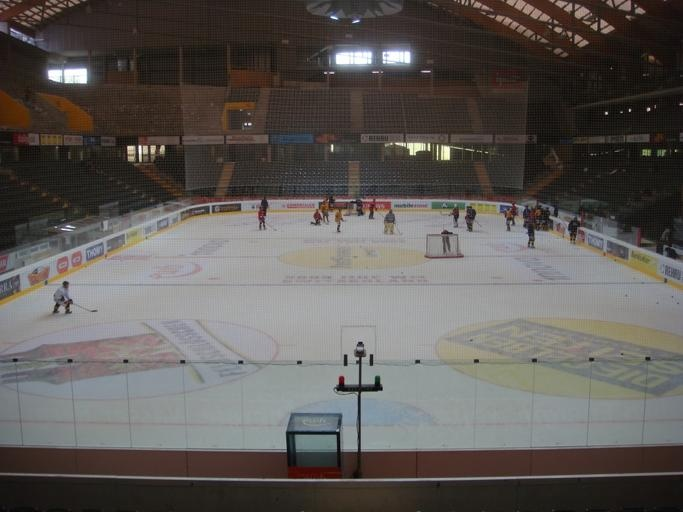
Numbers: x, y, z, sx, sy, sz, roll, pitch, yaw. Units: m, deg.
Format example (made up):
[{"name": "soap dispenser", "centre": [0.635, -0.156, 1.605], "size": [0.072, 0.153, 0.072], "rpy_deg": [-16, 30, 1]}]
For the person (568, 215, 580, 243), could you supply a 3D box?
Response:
[{"name": "person", "centre": [9.636, -1.096, 27.195], "size": [0.387, 1.040, 0.836], "rpy_deg": [3, 12, 20]}]

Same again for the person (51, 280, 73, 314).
[{"name": "person", "centre": [-7.697, 1.089, 17.936], "size": [0.509, 0.982, 1.068], "rpy_deg": [-6, 12, -24]}]

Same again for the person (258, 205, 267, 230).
[{"name": "person", "centre": [-3.965, -1.915, 32.758], "size": [0.361, 1.113, 1.582], "rpy_deg": [-3, 11, -10]}]

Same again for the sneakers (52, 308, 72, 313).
[{"name": "sneakers", "centre": [-7.673, 1.514, 17.969], "size": [0.162, 0.225, 0.526], "rpy_deg": [2, -9, 13]}]

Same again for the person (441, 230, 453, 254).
[{"name": "person", "centre": [4.089, -0.593, 25.398], "size": [0.429, 0.985, 1.679], "rpy_deg": [1, 11, 9]}]

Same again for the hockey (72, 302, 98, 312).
[{"name": "hockey", "centre": [-7.175, 1.420, 18.398], "size": [1.104, 0.136, 0.288], "rpy_deg": [8, 14, 35]}]

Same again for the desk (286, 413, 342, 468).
[{"name": "desk", "centre": [-0.464, 3.102, 11.263], "size": [0.893, 1.188, 0.632], "rpy_deg": [2, 31, -1]}]
